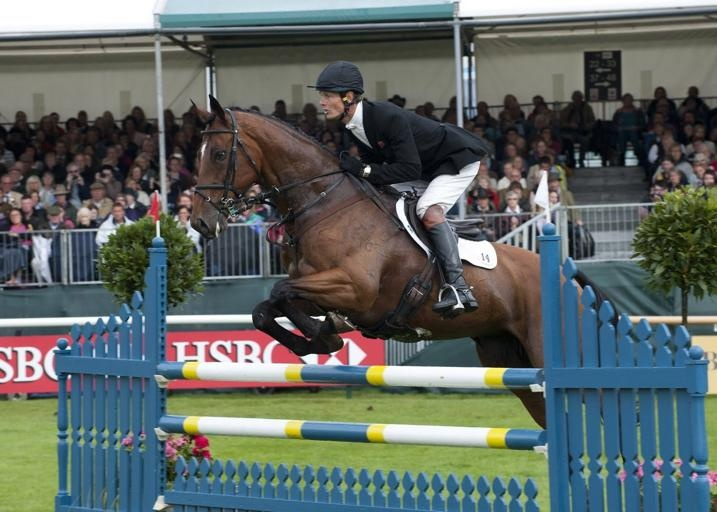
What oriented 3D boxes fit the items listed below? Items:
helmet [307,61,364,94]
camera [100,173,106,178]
[{"bbox_3d":[-0.246,-1.856,17.952,0.664,0.350,0.469,-2,12,-29],"label":"helmet"},{"bbox_3d":[-3.583,-1.149,24.372,0.077,0.068,0.020,0,-3,10],"label":"camera"}]
